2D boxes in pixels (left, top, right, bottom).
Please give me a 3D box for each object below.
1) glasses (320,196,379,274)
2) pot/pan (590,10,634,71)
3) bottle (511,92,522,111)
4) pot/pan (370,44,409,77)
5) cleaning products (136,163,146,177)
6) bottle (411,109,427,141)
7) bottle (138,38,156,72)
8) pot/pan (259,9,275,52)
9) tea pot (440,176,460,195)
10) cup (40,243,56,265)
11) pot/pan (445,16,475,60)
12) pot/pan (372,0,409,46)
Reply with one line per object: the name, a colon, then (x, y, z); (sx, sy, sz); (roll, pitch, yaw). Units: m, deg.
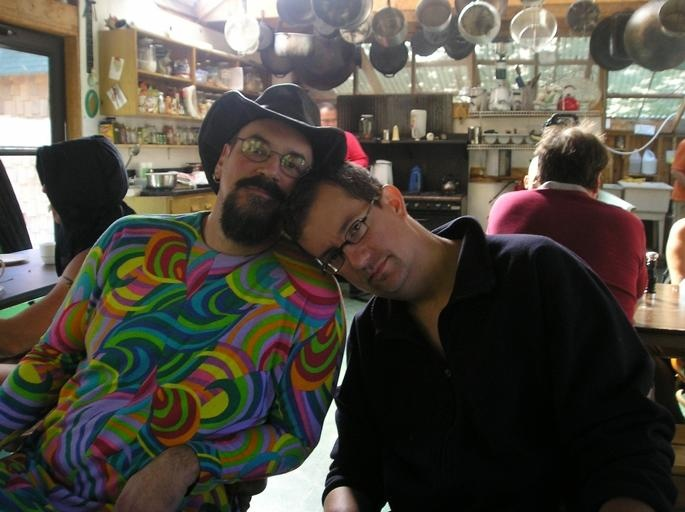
glasses: (0.004, -0.087, 1.827); (0.207, 0.064, 0.220); (-45, 4, 28)
pot/pan: (2.052, -1.603, 4.417); (0.374, 0.415, 0.089); (-7, 7, -33)
bottle: (1.912, -1.713, 6.368); (0.097, 0.201, 0.083); (1, 12, 5)
pot/pan: (0.429, -1.891, 5.575); (0.360, 0.306, 0.262); (2, 13, 7)
cleaning products: (-1.999, -0.849, 5.728); (0.065, 0.142, 0.133); (-8, 13, -40)
bottle: (0.902, -1.567, 6.885); (0.200, 0.353, 0.344); (1, 13, 6)
bottle: (-1.812, -1.866, 5.376); (0.094, 0.305, 0.218); (4, 13, 19)
pot/pan: (-0.728, -2.174, 5.552); (0.139, 0.369, 0.448); (-2, 13, -7)
tea pot: (1.274, -0.834, 6.779); (0.194, 0.208, 0.204); (0, 14, 0)
cup: (-1.637, -0.010, 3.266); (0.101, 0.095, 0.110); (0, 0, 0)
pot/pan: (1.039, -1.930, 5.190); (0.182, 0.348, 0.314); (7, -7, 14)
pot/pan: (0.395, -1.999, 4.912); (0.268, 0.398, 0.520); (4, 13, 18)
